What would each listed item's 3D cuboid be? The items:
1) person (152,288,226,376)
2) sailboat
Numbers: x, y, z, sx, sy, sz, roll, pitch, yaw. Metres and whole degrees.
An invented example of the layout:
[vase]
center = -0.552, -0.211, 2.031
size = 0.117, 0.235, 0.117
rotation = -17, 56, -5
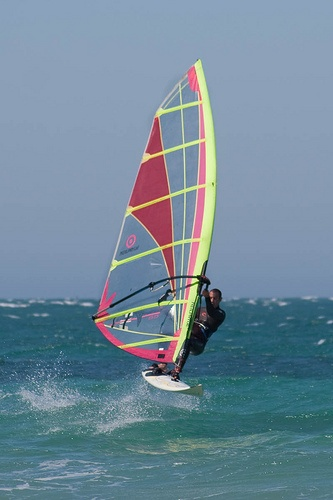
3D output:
[person]
center = 0.395, 1.272, 10.947
size = 0.952, 1.364, 0.828
rotation = 0, -1, 1
[sailboat]
center = -0.038, -0.598, 11.051
size = 1.692, 4.640, 0.392
rotation = 0, -1, 29
